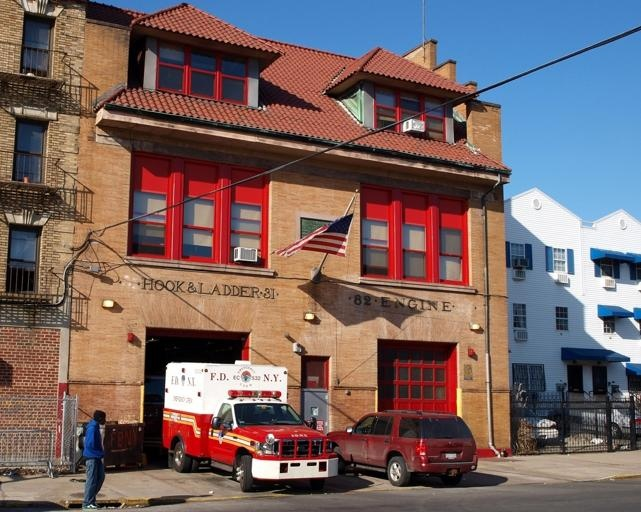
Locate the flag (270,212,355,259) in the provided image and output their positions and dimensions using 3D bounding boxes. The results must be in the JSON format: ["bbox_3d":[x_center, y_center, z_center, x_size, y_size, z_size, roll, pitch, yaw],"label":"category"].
[{"bbox_3d":[0.011,-0.763,41.608,2.147,1.379,0.641,2,-13,-7],"label":"flag"}]

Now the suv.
[{"bbox_3d":[2.561,6.195,38.200,2.418,1.692,4.289,9,-7,-34],"label":"suv"}]

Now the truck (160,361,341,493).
[{"bbox_3d":[-2.341,5.577,37.722,2.905,3.112,5.961,8,-18,-32],"label":"truck"}]

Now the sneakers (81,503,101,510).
[{"bbox_3d":[-6.363,7.027,32.804,0.529,0.202,0.172,1,-8,-3],"label":"sneakers"}]

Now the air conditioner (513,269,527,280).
[{"bbox_3d":[10.270,0.993,61.275,1.010,0.579,0.294,8,-15,-33],"label":"air conditioner"}]

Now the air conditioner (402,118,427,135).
[{"bbox_3d":[3.660,-5.148,45.871,0.965,0.644,0.668,3,-12,-12],"label":"air conditioner"}]

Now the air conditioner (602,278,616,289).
[{"bbox_3d":[15.773,1.496,64.440,0.836,0.622,0.393,4,-13,-17],"label":"air conditioner"}]

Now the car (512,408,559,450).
[{"bbox_3d":[8.528,6.948,46.769,0.875,1.729,2.381,-10,-16,38],"label":"car"}]

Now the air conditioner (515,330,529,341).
[{"bbox_3d":[10.281,4.073,60.679,0.935,0.666,0.295,10,-16,-40],"label":"air conditioner"}]

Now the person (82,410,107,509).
[{"bbox_3d":[-6.367,5.750,33.265,0.601,2.788,0.707,2,-13,-10],"label":"person"}]
